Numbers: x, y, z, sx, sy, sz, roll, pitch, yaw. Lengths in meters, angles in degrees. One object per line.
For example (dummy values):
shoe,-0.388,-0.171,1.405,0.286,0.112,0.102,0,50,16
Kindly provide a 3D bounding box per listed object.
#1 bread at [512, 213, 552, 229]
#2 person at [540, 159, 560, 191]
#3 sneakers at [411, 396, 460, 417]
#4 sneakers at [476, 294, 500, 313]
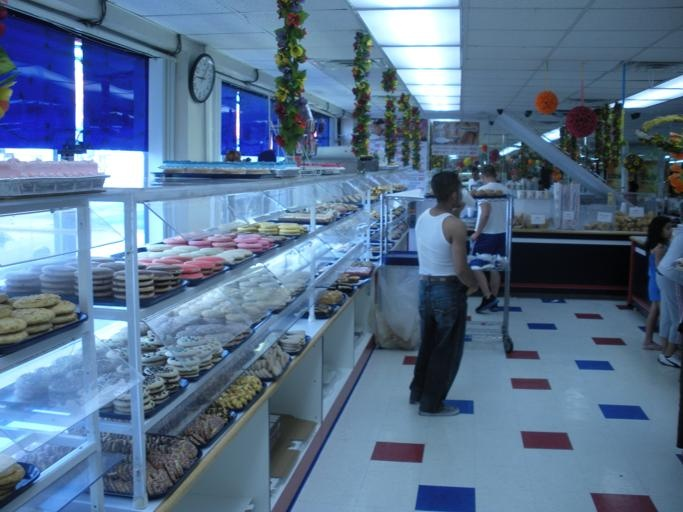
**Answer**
bread,2.738,-0.500,7.265,0.394,0.151,0.268,0,1,4
person,5.583,-2.232,13.463,0.433,0.770,2.119,4,11,22
sneakers,0.727,1.170,3.825,0.376,0.127,0.113,-1,3,-7
sneakers,1.908,0.617,6.308,0.148,0.162,0.379,-23,-6,-31
